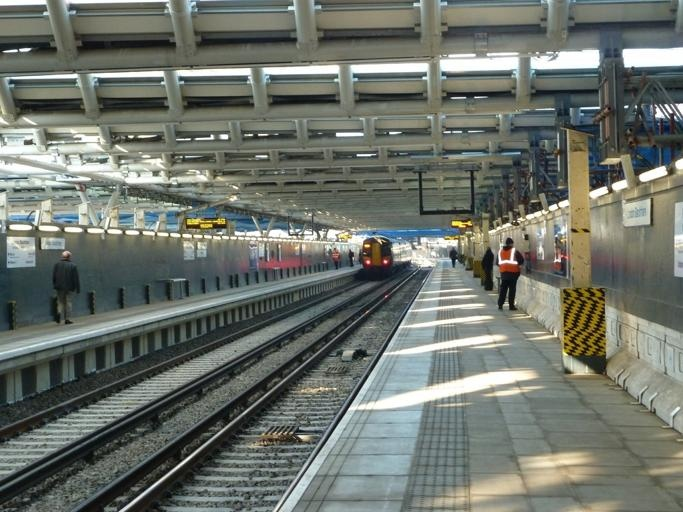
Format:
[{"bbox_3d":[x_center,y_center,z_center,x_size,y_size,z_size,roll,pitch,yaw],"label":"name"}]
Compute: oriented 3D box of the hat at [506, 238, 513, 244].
[{"bbox_3d":[4.875,-0.431,18.192,0.212,0.128,0.249,-6,-3,-10],"label":"hat"}]
